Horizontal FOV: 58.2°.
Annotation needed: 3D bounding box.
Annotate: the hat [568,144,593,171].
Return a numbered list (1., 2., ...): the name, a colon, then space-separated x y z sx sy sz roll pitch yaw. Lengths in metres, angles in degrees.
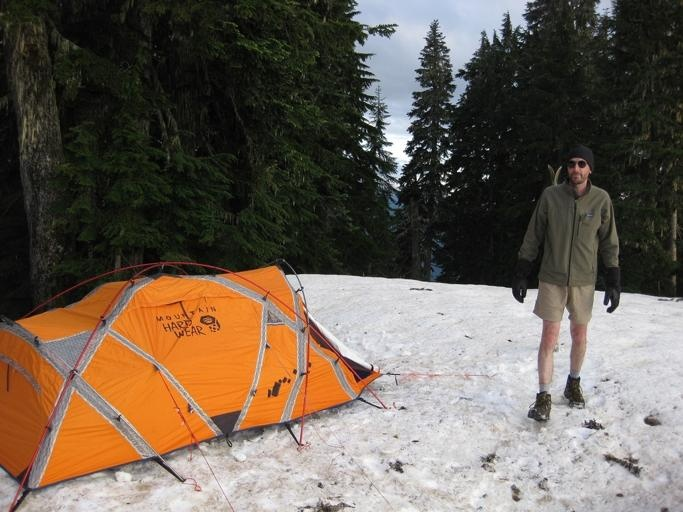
1. hat: 3.332 -1.441 8.541 0.294 0.289 0.352 17 -15 14

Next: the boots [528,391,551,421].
1. boots: 2.763 2.082 8.502 0.216 0.355 0.458 -3 -6 40
